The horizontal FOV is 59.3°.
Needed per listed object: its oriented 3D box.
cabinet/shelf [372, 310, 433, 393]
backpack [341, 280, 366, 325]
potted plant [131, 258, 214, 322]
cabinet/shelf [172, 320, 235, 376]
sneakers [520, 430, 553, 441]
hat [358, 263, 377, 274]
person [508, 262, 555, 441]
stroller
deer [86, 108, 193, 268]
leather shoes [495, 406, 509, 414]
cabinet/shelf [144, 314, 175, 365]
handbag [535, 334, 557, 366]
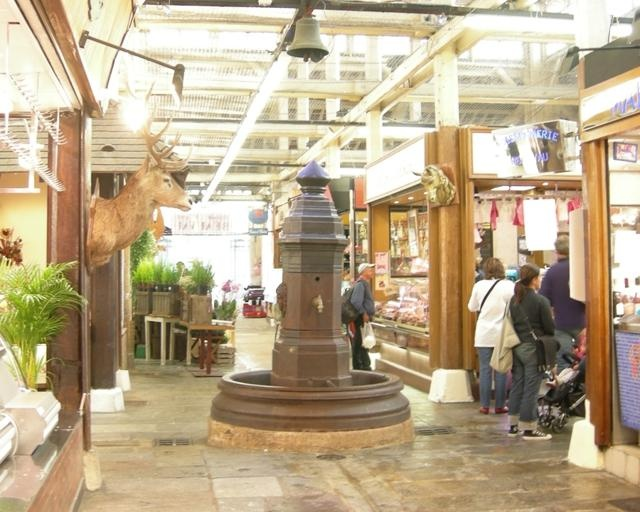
[{"bbox_3d":[1.450,1.539,9.185,0.550,0.831,1.630,-11,6,-25],"label":"cabinet/shelf"},{"bbox_3d":[0.490,0.735,8.714,0.289,0.588,0.375,-1,-3,5],"label":"backpack"},{"bbox_3d":[-2.902,0.645,10.785,1.123,0.827,1.438,2,-7,-15],"label":"potted plant"},{"bbox_3d":[-2.303,1.804,11.146,0.522,0.597,0.917,-4,-18,45],"label":"cabinet/shelf"},{"bbox_3d":[2.206,1.828,5.778,0.318,0.145,0.111,-2,2,-1],"label":"sneakers"},{"bbox_3d":[0.712,0.227,9.204,0.163,0.078,0.230,-28,3,-33],"label":"hat"},{"bbox_3d":[2.193,0.988,5.866,0.507,1.790,0.330,-2,-3,27],"label":"person"},{"bbox_3d":[2.722,1.339,6.062,0.611,0.941,0.437,-11,8,15],"label":"stroller"},{"bbox_3d":[-1.906,-0.545,5.902,1.049,1.641,0.873,2,6,-20],"label":"deer"},{"bbox_3d":[2.198,1.862,6.821,0.174,0.079,0.061,-4,2,-17],"label":"leather shoes"},{"bbox_3d":[-3.102,1.686,11.465,0.575,0.640,0.601,-16,-9,-13],"label":"cabinet/shelf"},{"bbox_3d":[2.306,0.965,5.702,0.199,0.321,0.082,0,-3,-8],"label":"handbag"}]
